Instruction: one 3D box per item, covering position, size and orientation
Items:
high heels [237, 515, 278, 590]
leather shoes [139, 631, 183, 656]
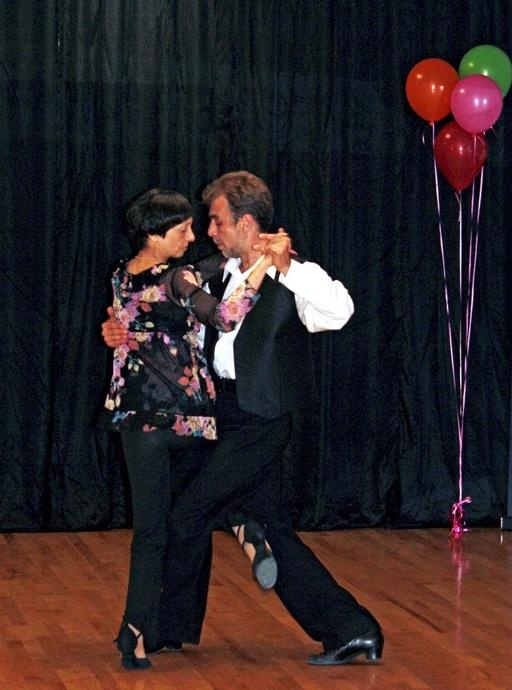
[{"bbox_3d":[0.006,0.532,2.082,0.078,0.055,0.203,-11,60,-37],"label":"high heels"},{"bbox_3d":[-0.262,0.815,2.167,0.154,0.054,0.051,6,-10,-17],"label":"leather shoes"}]
